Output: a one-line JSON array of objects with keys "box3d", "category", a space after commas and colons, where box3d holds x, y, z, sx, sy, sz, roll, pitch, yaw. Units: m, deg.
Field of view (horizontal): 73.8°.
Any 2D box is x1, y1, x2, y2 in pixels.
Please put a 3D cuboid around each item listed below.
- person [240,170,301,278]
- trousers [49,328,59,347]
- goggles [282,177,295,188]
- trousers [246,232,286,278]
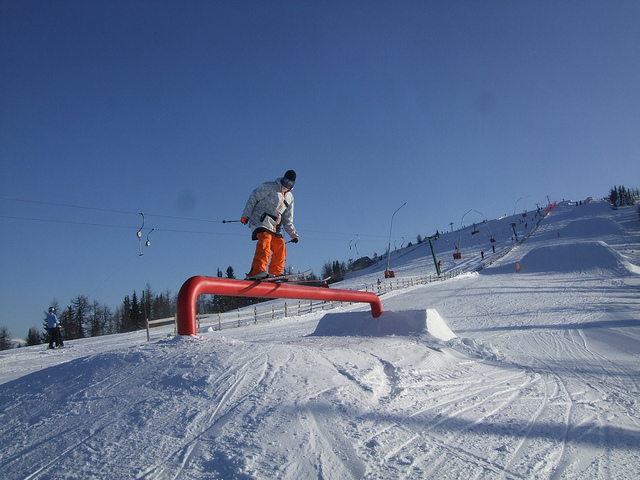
[{"box3d": [-0.840, -0.302, 7.523, 0.549, 1.870, 1.102, 0, -1, 40], "category": "person"}, {"box3d": [-10.400, 3.731, 16.541, 0.313, 0.766, 0.579, 1, -1, -32], "category": "trousers"}, {"box3d": [-0.521, -1.037, 7.475, 0.173, 0.152, 0.341, 1, -1, -31], "category": "goggles"}, {"box3d": [-0.860, 0.372, 7.556, 0.466, 0.367, 1.027, 1, 19, 4], "category": "trousers"}]
